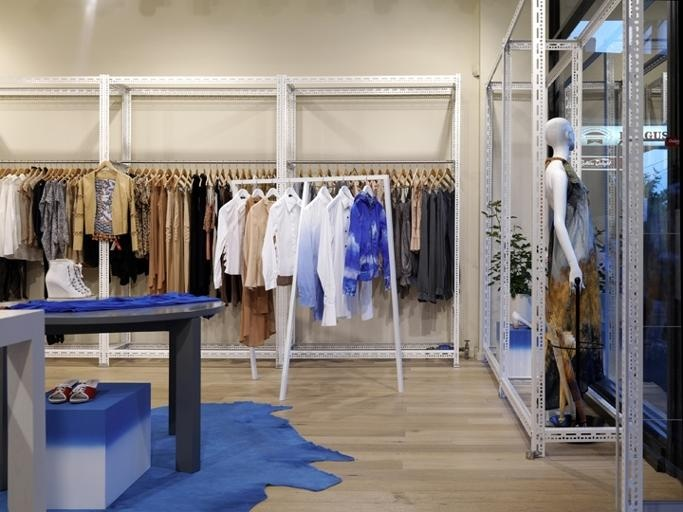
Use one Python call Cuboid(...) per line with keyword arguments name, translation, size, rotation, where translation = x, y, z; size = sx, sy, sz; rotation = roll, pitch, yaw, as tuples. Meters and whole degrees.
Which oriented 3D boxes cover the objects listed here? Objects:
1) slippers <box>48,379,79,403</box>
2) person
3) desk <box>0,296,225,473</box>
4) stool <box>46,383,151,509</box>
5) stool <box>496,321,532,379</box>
Cuboid(name="slippers", translation=(-1.572, 0.769, 3.868), size=(0.076, 0.066, 0.200), rotation=(-1, -4, -5))
Cuboid(name="person", translation=(1.441, 0.236, 4.260), size=(0.388, 1.678, 0.263), rotation=(3, 7, 22))
Cuboid(name="desk", translation=(-1.000, 0.792, 4.363), size=(1.026, 0.905, 1.098), rotation=(-1, -3, 24))
Cuboid(name="stool", translation=(-1.388, 1.014, 4.032), size=(0.434, 0.694, 0.883), rotation=(0, 4, -4))
Cuboid(name="stool", translation=(1.315, 0.720, 5.137), size=(0.281, 0.605, 0.287), rotation=(0, -2, 10))
